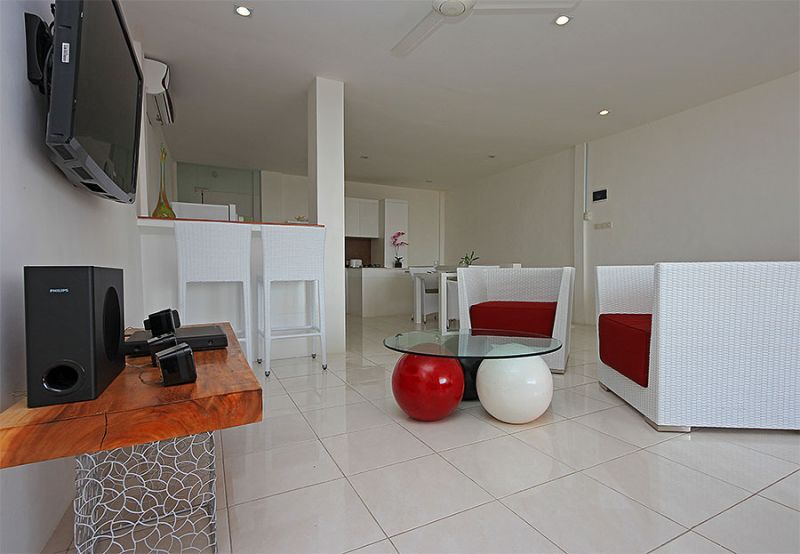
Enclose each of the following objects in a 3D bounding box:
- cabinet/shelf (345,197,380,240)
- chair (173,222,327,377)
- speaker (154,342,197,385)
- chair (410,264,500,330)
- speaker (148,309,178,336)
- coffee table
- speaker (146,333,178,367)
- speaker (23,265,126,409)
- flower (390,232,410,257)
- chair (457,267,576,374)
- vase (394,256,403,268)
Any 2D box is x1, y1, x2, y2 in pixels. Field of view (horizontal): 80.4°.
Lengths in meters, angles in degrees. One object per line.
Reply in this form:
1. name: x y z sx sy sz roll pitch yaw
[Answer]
1. cabinet/shelf: -0.721 -1.174 9.337 0.804 0.738 0.299 8 13 30
2. chair: -1.188 0.134 3.694 1.276 1.440 0.602 0 5 -13
3. speaker: -0.902 0.340 1.905 0.140 0.154 0.117 -5 19 -18
4. chair: 0.480 0.228 6.364 0.958 0.928 0.966 1 -2 -25
5. speaker: -1.162 0.227 2.319 0.156 0.105 0.188 -6 2 -12
6. coffee table: 0.577 0.521 3.146 0.694 0.342 0.751 -1 1 -11
7. speaker: -1.002 0.298 1.987 0.152 0.183 0.108 -1 4 -31
8. speaker: -1.342 0.204 2.015 0.199 0.532 0.598 0 4 -18
9. flower: -0.017 -0.653 9.355 0.377 0.525 0.097 -3 4 -36
10. chair: 1.051 0.354 4.231 0.922 0.899 0.699 0 2 21
11. vase: -0.023 -0.294 9.202 0.221 0.301 0.200 1 6 5
